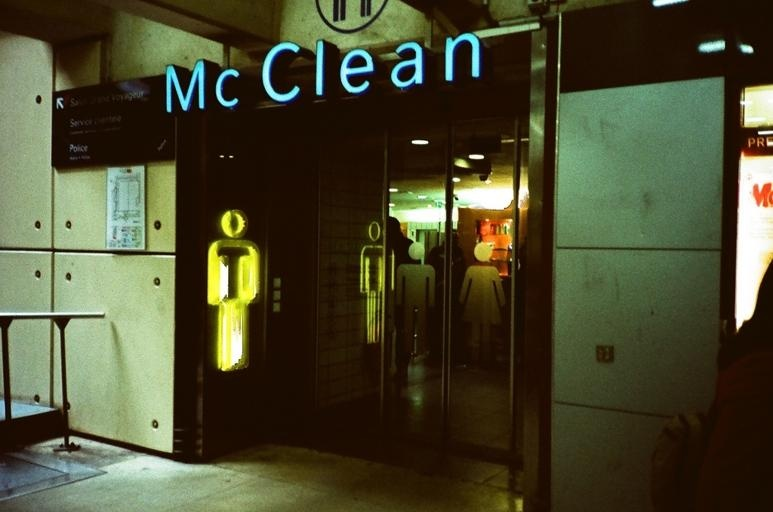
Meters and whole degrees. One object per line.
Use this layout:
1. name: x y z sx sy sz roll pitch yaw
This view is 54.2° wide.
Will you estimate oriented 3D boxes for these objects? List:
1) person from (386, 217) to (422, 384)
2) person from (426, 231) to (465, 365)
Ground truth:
1. person: 0.130 0.442 7.597 0.319 1.627 0.281 3 10 20
2. person: 0.577 0.338 7.401 0.396 1.165 0.298 0 10 4
